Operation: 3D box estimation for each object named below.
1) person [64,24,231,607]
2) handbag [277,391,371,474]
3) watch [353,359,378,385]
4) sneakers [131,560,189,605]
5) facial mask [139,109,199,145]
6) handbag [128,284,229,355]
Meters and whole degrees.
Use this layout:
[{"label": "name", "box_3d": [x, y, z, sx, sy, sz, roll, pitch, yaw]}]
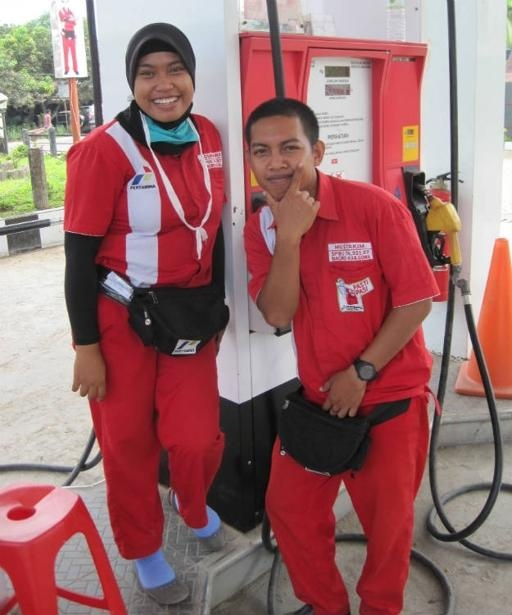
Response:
[{"label": "person", "box_3d": [-0.330, -0.025, 1.687, 0.568, 1.642, 0.511, -5, 12, -18]}, {"label": "handbag", "box_3d": [0.167, 0.335, 1.338, 0.197, 0.192, 0.079, 12, 16, 26]}, {"label": "watch", "box_3d": [0.260, 0.151, 1.282, 0.043, 0.063, 0.059, -39, 8, 18]}, {"label": "sneakers", "box_3d": [-0.303, 0.853, 1.609, 0.105, 0.059, 0.246, -10, 23, -34]}, {"label": "facial mask", "box_3d": [-0.237, -0.488, 1.428, 0.065, 0.083, 0.187, 9, 17, 42]}, {"label": "handbag", "box_3d": [-0.208, 0.033, 1.484, 0.294, 0.202, 0.082, -11, 15, -32]}]
